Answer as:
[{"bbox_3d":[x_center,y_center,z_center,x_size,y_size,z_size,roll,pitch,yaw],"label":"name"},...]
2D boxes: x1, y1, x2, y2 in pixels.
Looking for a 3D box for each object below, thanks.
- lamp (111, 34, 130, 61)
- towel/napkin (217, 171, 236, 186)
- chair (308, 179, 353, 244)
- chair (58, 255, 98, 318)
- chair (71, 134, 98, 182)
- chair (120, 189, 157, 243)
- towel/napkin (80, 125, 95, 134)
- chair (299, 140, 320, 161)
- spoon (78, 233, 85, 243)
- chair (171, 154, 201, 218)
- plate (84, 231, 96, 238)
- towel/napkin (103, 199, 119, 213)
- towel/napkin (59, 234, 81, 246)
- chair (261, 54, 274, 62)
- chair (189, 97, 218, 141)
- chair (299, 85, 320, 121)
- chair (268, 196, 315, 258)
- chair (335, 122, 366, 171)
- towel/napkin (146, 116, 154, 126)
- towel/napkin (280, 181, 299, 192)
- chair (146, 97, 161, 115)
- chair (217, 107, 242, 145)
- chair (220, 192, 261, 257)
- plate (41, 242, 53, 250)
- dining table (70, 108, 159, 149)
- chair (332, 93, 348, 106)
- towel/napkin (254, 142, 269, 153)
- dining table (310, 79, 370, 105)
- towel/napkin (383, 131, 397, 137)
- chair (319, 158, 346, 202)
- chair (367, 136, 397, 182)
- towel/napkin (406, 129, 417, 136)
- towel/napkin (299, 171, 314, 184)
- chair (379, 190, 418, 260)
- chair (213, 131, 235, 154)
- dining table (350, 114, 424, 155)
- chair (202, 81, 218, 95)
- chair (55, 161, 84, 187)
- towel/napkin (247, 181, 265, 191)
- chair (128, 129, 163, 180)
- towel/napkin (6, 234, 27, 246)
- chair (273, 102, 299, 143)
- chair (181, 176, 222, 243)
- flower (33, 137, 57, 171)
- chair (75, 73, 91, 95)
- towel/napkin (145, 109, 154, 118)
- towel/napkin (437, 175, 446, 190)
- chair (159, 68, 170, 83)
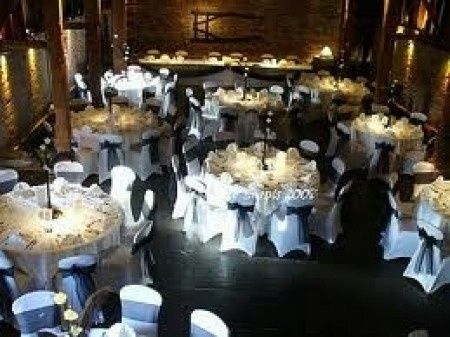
[{"bbox_3d":[-3.788,-4.414,12.562,0.523,0.948,1.084,-5,22,-17],"label":"lamp"},{"bbox_3d":[0.042,0.153,6.059,0.314,0.144,0.292,6,21,9],"label":"towel/napkin"},{"bbox_3d":[1.949,0.783,6.549,0.630,1.059,0.622,10,16,38],"label":"chair"},{"bbox_3d":[-1.902,1.448,4.350,0.437,0.611,0.449,6,-6,-3],"label":"chair"},{"bbox_3d":[-3.069,-0.273,7.494,0.519,0.900,0.524,35,47,31],"label":"chair"},{"bbox_3d":[-1.372,0.642,5.520,0.534,0.489,0.750,10,49,-25],"label":"chair"},{"bbox_3d":[-3.139,-0.905,7.897,0.324,0.131,0.213,10,22,18],"label":"towel/napkin"},{"bbox_3d":[2.096,-0.429,8.591,0.360,0.397,0.642,25,-10,13],"label":"chair"},{"bbox_3d":[-1.911,0.922,4.600,0.053,0.058,0.184,-8,44,-23],"label":"spoon"},{"bbox_3d":[-0.750,0.382,6.641,0.672,1.091,0.722,-3,40,-7],"label":"chair"},{"bbox_3d":[-1.844,0.900,4.669,0.183,0.031,0.122,12,23,22],"label":"plate"},{"bbox_3d":[-1.689,0.572,5.118,0.213,0.078,0.169,-31,76,-24],"label":"towel/napkin"},{"bbox_3d":[-2.045,0.929,4.551,0.286,0.095,0.191,-6,23,-21],"label":"towel/napkin"},{"bbox_3d":[1.902,-5.045,15.643,0.726,0.496,0.756,2,16,8],"label":"chair"},{"bbox_3d":[-0.635,-1.527,10.434,0.791,1.160,0.776,-6,25,-19],"label":"chair"},{"bbox_3d":[2.995,-2.352,12.351,0.731,1.190,0.682,-14,20,-30],"label":"chair"},{"bbox_3d":[1.208,0.947,6.152,0.606,1.117,0.874,0,15,-6],"label":"chair"},{"bbox_3d":[3.322,-0.619,9.077,0.792,1.199,0.840,3,27,4],"label":"chair"},{"bbox_3d":[-1.843,-1.200,8.502,0.166,0.124,0.249,-9,35,-2],"label":"towel/napkin"},{"bbox_3d":[1.112,0.299,5.936,0.325,0.139,0.239,1,21,-5],"label":"towel/napkin"},{"bbox_3d":[-1.950,-1.769,9.706,0.418,0.580,0.479,2,48,-3],"label":"chair"},{"bbox_3d":[0.276,-1.322,10.229,0.812,1.095,0.731,-26,37,-37],"label":"chair"},{"bbox_3d":[0.447,0.815,5.947,0.680,0.939,0.713,-5,20,9],"label":"chair"},{"bbox_3d":[-2.287,1.004,4.433,0.155,0.029,0.128,1,21,-5],"label":"plate"},{"bbox_3d":[-2.627,-1.112,8.377,1.399,0.547,1.441,19,31,26],"label":"dining table"},{"bbox_3d":[3.648,-2.203,10.986,0.397,0.329,0.416,5,36,9],"label":"chair"},{"bbox_3d":[0.730,-0.461,7.189,0.259,0.277,0.085,-21,14,-23],"label":"towel/napkin"},{"bbox_3d":[3.624,-2.794,12.537,1.464,0.607,1.560,-4,31,-18],"label":"dining table"},{"bbox_3d":[4.164,-0.870,8.590,0.445,0.138,0.206,-11,24,-30],"label":"towel/napkin"},{"bbox_3d":[2.269,0.264,7.263,0.473,0.828,0.475,-4,42,-5],"label":"chair"},{"bbox_3d":[3.927,-0.223,8.564,0.544,1.052,0.426,12,23,25],"label":"chair"},{"bbox_3d":[4.749,-0.889,8.747,0.205,0.074,0.203,10,37,28],"label":"towel/napkin"},{"bbox_3d":[1.466,0.172,6.122,0.185,0.077,0.186,-23,39,-21],"label":"towel/napkin"},{"bbox_3d":[3.110,1.059,6.163,0.635,1.049,0.728,-2,34,5],"label":"chair"},{"bbox_3d":[-0.062,-0.644,7.772,0.410,0.545,0.435,-2,27,-9],"label":"chair"},{"bbox_3d":[4.230,-0.650,9.008,1.293,0.596,1.371,1,33,5],"label":"dining table"},{"bbox_3d":[-0.498,-2.751,11.569,0.371,0.547,0.466,2,41,-2],"label":"chair"},{"bbox_3d":[-2.755,0.103,6.292,0.419,0.577,0.491,0,-1,-11],"label":"chair"},{"bbox_3d":[0.543,0.278,5.848,0.324,0.116,0.231,-1,21,-8],"label":"towel/napkin"},{"bbox_3d":[-1.919,-0.405,8.203,0.708,1.158,0.749,-13,24,-41],"label":"chair"},{"bbox_3d":[-2.687,0.932,4.442,0.290,0.095,0.108,6,21,8],"label":"towel/napkin"},{"bbox_3d":[1.816,-1.494,10.715,0.922,1.210,1.005,-4,21,-10],"label":"chair"},{"bbox_3d":[-0.395,0.769,6.228,0.684,1.027,0.740,-12,27,-31],"label":"chair"},{"bbox_3d":[-4.046,-0.225,7.880,0.534,0.662,0.196,19,49,15],"label":"flower"},{"bbox_3d":[-4.880,-3.111,11.765,0.425,0.465,1.613,-11,40,-15],"label":"chair"},{"bbox_3d":[-1.929,-1.415,8.896,0.258,0.076,0.250,23,41,39],"label":"towel/napkin"},{"bbox_3d":[4.169,0.281,6.638,0.216,0.309,0.097,-1,-11,-2],"label":"towel/napkin"},{"bbox_3d":[-2.270,-3.436,12.729,0.330,0.476,0.950,-2,21,-11],"label":"chair"}]
